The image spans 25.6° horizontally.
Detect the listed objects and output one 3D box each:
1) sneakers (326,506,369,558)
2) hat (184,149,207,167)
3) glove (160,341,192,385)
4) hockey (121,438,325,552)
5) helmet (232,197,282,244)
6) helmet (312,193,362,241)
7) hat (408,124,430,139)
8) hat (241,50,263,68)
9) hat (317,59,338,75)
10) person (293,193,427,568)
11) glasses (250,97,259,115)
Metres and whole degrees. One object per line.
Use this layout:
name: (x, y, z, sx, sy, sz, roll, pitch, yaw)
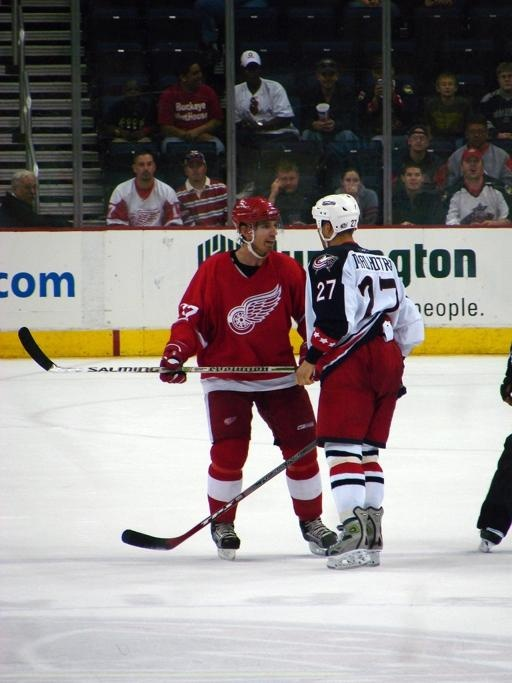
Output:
sneakers: (0.268, 0.565, 3.318, 0.104, 0.134, 0.160, 1, 11, 8)
hat: (-0.506, -1.502, 9.324, 0.128, 0.077, 0.165, 0, -14, -5)
glove: (-0.251, 0.069, 3.636, 0.101, 0.126, 0.060, 15, 39, 34)
hockey: (-0.110, 0.545, 3.896, 0.719, 0.144, 0.055, -24, -18, -13)
helmet: (-0.008, -0.412, 3.736, 0.173, 0.138, 0.127, 0, 6, 15)
helmet: (0.252, -0.388, 3.606, 0.165, 0.154, 0.144, 9, 11, 44)
hat: (1.372, -1.745, 9.438, 0.123, 0.103, 0.144, -1, 5, 1)
hat: (-0.055, -2.324, 9.318, 0.208, 0.123, 0.302, -3, 5, -6)
hat: (0.591, -2.304, 9.550, 0.144, 0.144, 0.172, -2, -4, -4)
person: (0.314, 0.113, 3.449, 0.382, 1.088, 0.637, 1, 12, 8)
glasses: (-0.021, -1.950, 9.392, 0.043, 0.122, 0.098, -1, 15, 40)
